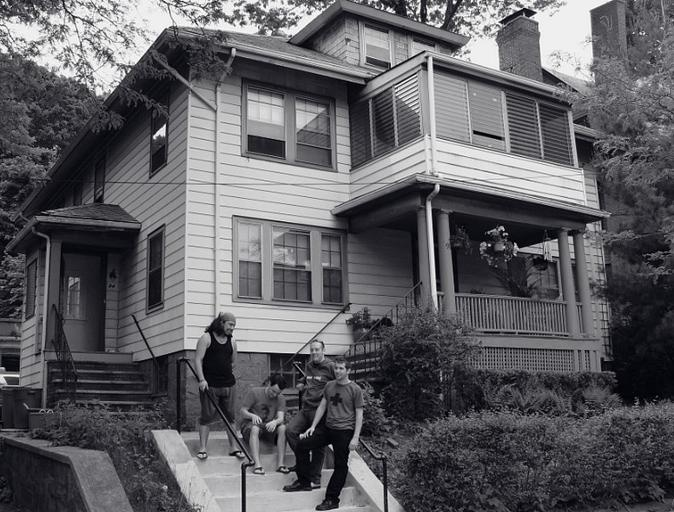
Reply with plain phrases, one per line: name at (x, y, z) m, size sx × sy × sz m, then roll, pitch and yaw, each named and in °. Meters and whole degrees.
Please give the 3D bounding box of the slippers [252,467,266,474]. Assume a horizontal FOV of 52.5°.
slippers at (-1.220, 3.349, 10.685) m, size 0.177 × 0.121 × 0.163 m, roll 1°, pitch -11°, yaw -8°

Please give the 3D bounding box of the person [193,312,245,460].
person at (-1.949, 2.086, 10.963) m, size 0.622 × 2.280 × 0.720 m, roll 2°, pitch -10°, yaw -10°

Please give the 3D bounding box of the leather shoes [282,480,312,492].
leather shoes at (-0.612, 3.555, 10.594) m, size 0.423 × 0.183 × 0.178 m, roll 4°, pitch -16°, yaw -2°

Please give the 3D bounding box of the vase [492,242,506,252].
vase at (4.142, -0.206, 17.475) m, size 0.235 × 0.246 × 0.244 m, roll -3°, pitch -13°, yaw 24°

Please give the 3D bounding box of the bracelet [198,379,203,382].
bracelet at (-2.134, 1.957, 10.766) m, size 0.047 × 0.052 × 0.013 m, roll 9°, pitch -6°, yaw 6°

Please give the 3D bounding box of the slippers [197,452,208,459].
slippers at (-2.151, 3.165, 10.876) m, size 0.146 × 0.131 × 0.165 m, roll 2°, pitch -11°, yaw -12°

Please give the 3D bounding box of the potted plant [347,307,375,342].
potted plant at (0.699, 1.717, 17.327) m, size 0.729 × 0.807 × 0.771 m, roll 2°, pitch -5°, yaw -16°

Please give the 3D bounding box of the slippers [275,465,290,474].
slippers at (-0.849, 3.399, 10.885) m, size 0.087 × 0.092 × 0.243 m, roll 6°, pitch -11°, yaw -35°
